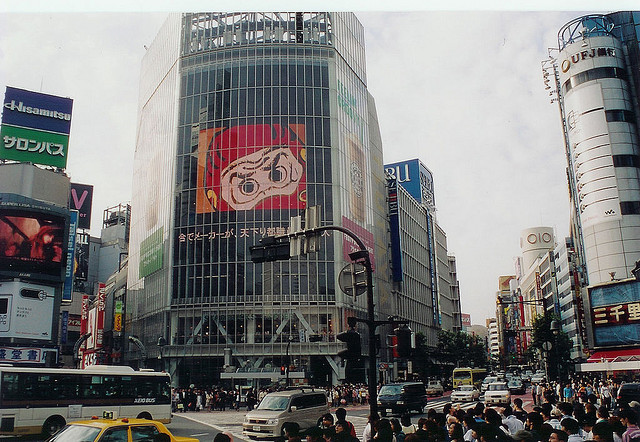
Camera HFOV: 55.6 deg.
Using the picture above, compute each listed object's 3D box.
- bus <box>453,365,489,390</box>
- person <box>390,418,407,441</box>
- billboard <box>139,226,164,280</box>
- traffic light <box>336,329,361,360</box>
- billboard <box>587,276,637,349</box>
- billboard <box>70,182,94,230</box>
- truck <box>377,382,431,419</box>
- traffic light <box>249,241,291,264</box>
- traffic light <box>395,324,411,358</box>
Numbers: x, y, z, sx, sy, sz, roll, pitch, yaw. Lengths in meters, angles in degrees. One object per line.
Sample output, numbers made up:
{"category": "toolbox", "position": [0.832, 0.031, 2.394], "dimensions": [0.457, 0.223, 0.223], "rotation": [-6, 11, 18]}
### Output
{"category": "bus", "position": [19.698, 20.856, 81.490], "dimensions": [2.415, 2.671, 6.864], "rotation": [-9, -22, 24]}
{"category": "person", "position": [4.104, 11.064, 32.230], "dimensions": [0.747, 1.120, 1.533], "rotation": [-5, -17, 7]}
{"category": "billboard", "position": [-27.150, 4.779, 98.326], "dimensions": [0.173, 7.759, 13.449], "rotation": [10, -12, -28]}
{"category": "traffic light", "position": [1.689, 7.146, 35.328], "dimensions": [1.161, 1.686, 1.077], "rotation": [-10, -19, 21]}
{"category": "billboard", "position": [40.241, 12.748, 83.745], "dimensions": [2.016, 10.989, 9.844], "rotation": [10, -20, -23]}
{"category": "billboard", "position": [-53.455, -2.412, 136.155], "dimensions": [4.121, 11.723, 13.488], "rotation": [4, -18, -20]}
{"category": "truck", "position": [7.475, 16.270, 55.755], "dimensions": [2.846, 2.663, 5.565], "rotation": [-10, -14, 32]}
{"category": "traffic light", "position": [-2.921, 1.770, 36.577], "dimensions": [2.514, 1.204, 0.916], "rotation": [-9, -18, 20]}
{"category": "traffic light", "position": [4.909, 7.010, 35.775], "dimensions": [0.841, 1.866, 0.964], "rotation": [-5, -17, 6]}
